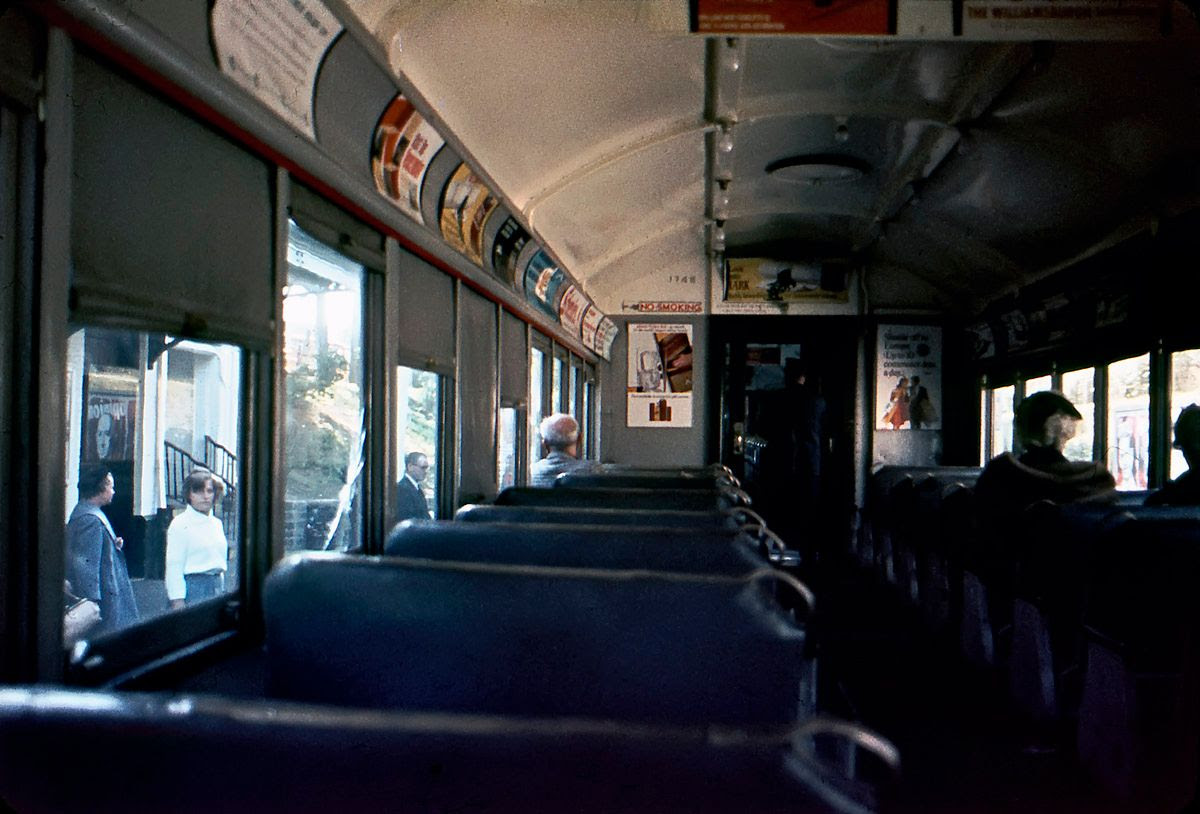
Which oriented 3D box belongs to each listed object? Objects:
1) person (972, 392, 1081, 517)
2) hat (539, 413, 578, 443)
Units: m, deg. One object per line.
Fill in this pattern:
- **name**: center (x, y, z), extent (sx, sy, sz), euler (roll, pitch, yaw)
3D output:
- **person**: center (2.619, 0.259, 5.398), extent (0.400, 0.753, 0.750), euler (11, 0, -16)
- **hat**: center (-0.268, 0.156, 6.318), extent (0.189, 0.171, 0.222), euler (2, 7, 3)
